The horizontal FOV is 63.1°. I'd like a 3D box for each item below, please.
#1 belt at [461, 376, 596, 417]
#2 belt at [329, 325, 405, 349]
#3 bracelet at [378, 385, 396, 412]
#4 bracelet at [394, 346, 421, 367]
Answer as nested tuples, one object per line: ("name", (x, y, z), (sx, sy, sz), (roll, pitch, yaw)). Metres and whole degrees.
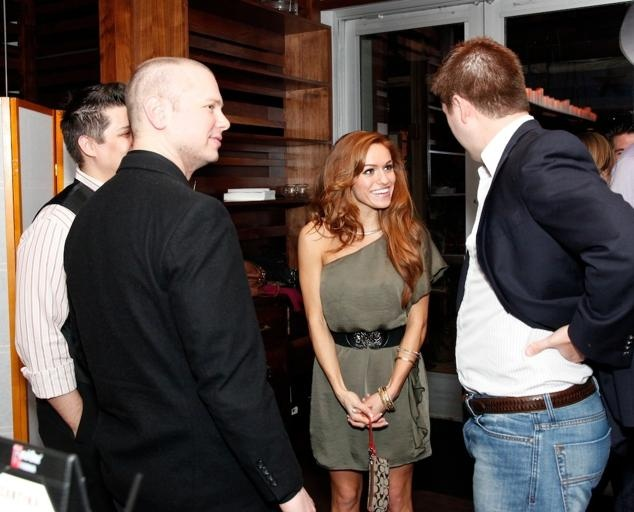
("belt", (0.604, 0.408, 1.475), (0.194, 0.051, 0.189), (-5, -6, 6))
("belt", (0.234, 0.361, 2.319), (0.324, 0.091, 0.079), (-3, 8, 8))
("bracelet", (0.299, 0.616, 2.223), (0.069, 0.120, 0.064), (-4, 8, 5))
("bracelet", (0.399, 0.433, 2.254), (0.074, 0.041, 0.084), (5, -17, -12))
